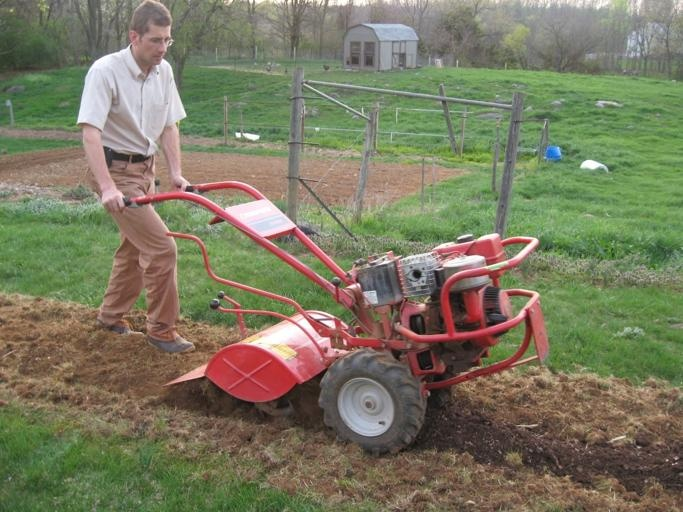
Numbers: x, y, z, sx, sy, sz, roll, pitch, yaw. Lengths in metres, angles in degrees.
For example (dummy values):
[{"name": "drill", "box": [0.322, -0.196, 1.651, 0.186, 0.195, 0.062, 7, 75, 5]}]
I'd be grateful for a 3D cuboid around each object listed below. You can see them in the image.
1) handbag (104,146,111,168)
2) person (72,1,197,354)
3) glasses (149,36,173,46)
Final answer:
[{"name": "handbag", "box": [-2.544, -1.083, 7.954, 0.116, 0.162, 0.156, 4, -13, -18]}, {"name": "person", "box": [-2.266, -0.829, 8.105, 1.044, 3.875, 1.274, 13, 19, 38]}, {"name": "glasses", "box": [-1.930, -2.291, 7.848, 0.137, 0.159, 0.338, 5, 14, 16]}]
